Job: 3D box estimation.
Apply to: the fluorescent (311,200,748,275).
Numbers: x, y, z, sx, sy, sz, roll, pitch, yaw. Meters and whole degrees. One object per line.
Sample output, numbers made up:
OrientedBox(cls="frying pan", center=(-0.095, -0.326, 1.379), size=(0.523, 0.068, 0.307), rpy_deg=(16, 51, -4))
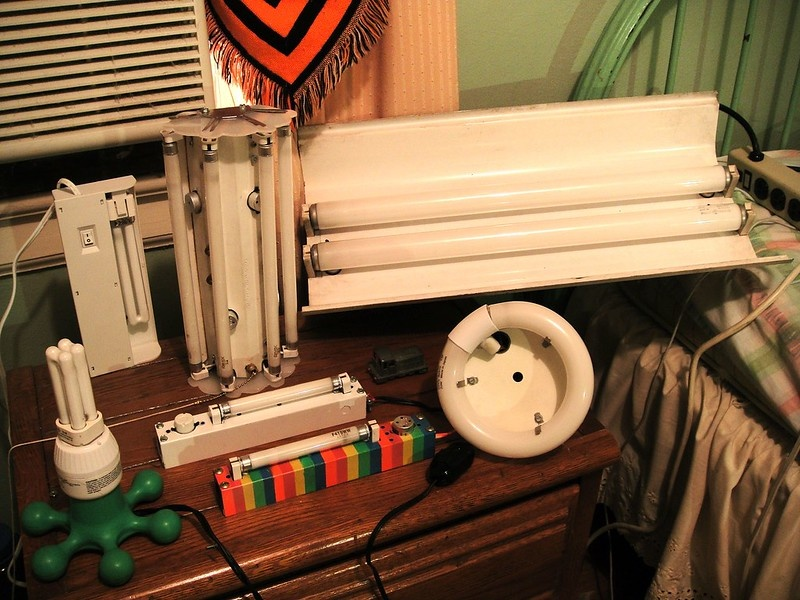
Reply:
OrientedBox(cls="fluorescent", center=(0.218, -0.099, 1.106), size=(0.732, 0.077, 0.031), rpy_deg=(-4, 25, -7))

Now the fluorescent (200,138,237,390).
OrientedBox(cls="fluorescent", center=(-0.270, -0.043, 0.983), size=(0.032, 0.391, 0.034), rpy_deg=(-3, 2, -3))

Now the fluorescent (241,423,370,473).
OrientedBox(cls="fluorescent", center=(-0.139, 0.215, 0.959), size=(0.157, 0.023, 0.022), rpy_deg=(-16, 51, -12))

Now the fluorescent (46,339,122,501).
OrientedBox(cls="fluorescent", center=(-0.409, 0.160, 0.847), size=(0.084, 0.233, 0.068), rpy_deg=(-5, 25, -9))

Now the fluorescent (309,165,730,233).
OrientedBox(cls="fluorescent", center=(0.200, -0.169, 1.154), size=(0.744, 0.077, 0.063), rpy_deg=(-5, -18, 5))

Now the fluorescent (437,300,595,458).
OrientedBox(cls="fluorescent", center=(0.169, 0.123, 0.996), size=(0.227, 0.222, 0.102), rpy_deg=(0, 25, 3))

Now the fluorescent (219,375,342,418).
OrientedBox(cls="fluorescent", center=(-0.186, 0.150, 1.020), size=(0.172, 0.019, 0.025), rpy_deg=(-13, 53, -24))
